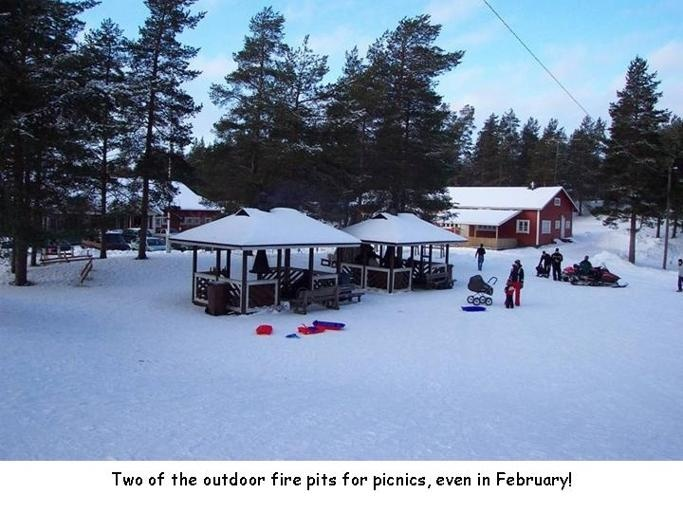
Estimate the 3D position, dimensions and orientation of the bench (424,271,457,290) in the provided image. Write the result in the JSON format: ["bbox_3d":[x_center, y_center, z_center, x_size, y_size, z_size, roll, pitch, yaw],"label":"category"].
[{"bbox_3d":[5.943,1.424,35.192,2.055,0.905,1.084,-10,18,-42],"label":"bench"}]

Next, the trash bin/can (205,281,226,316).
[{"bbox_3d":[-5.491,1.865,25.850,0.910,1.346,0.782,-1,13,-13],"label":"trash bin/can"}]

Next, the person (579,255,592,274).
[{"bbox_3d":[15.374,0.480,37.159,0.707,0.939,1.170,4,14,6],"label":"person"}]

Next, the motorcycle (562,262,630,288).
[{"bbox_3d":[15.886,1.332,37.163,2.569,0.993,1.926,1,5,-2],"label":"motorcycle"}]
